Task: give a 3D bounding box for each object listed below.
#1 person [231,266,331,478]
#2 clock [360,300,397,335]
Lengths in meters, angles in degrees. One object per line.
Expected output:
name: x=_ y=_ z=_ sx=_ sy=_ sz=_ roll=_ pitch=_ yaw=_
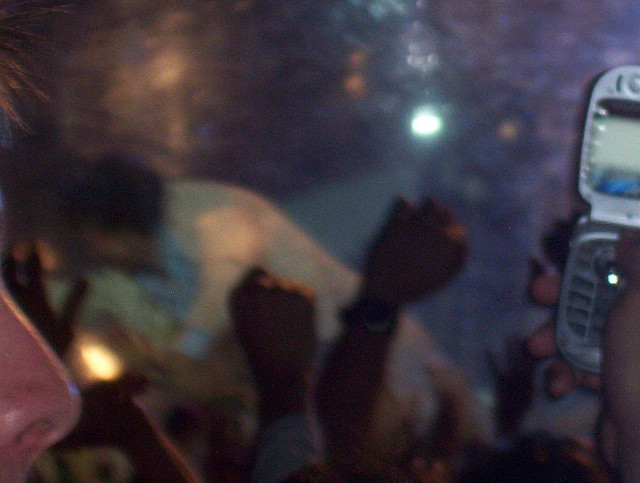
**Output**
person: x=-0.154 y=0.570 z=3.246 sx=0.394 sy=0.795 sz=0.494 roll=-5 pitch=30 yaw=-7
clock: x=0.251 y=0.325 z=3.227 sx=0.150 sy=0.117 sz=0.075 roll=2 pitch=30 yaw=5
